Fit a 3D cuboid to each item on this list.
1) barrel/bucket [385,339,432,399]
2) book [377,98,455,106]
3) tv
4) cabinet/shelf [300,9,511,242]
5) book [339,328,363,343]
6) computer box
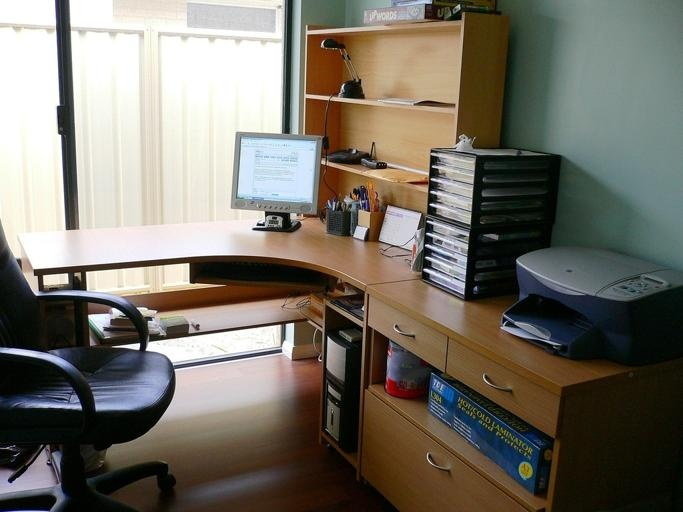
[{"bbox_3d":[0.249,0.482,2.345,0.263,0.251,0.154,0,14,-21],"label":"barrel/bucket"},{"bbox_3d":[0.353,-0.768,2.684,0.294,0.039,0.562,-9,19,-22],"label":"book"},{"bbox_3d":[-0.374,-0.439,3.116,0.556,0.618,0.318,4,10,4],"label":"tv"},{"bbox_3d":[0.325,-0.664,2.720,0.281,1.118,1.195,-6,19,-25],"label":"cabinet/shelf"},{"bbox_3d":[0.047,0.378,2.583,0.056,0.018,0.079,-5,15,-23],"label":"book"},{"bbox_3d":[0.008,0.648,2.629,0.181,0.553,0.258,-7,18,-18],"label":"computer box"}]
